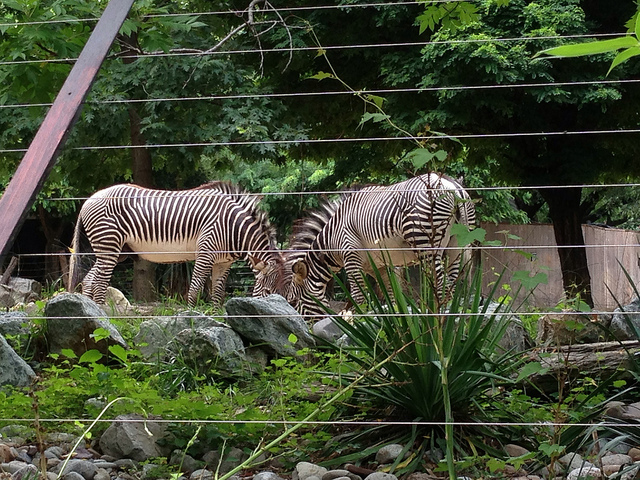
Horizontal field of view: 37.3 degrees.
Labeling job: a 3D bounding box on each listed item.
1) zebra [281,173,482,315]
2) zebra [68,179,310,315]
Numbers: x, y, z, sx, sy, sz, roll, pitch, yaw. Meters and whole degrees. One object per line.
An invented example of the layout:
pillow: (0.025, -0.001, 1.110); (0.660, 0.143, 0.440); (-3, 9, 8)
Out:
zebra: (0.491, 0.167, 9.533); (2.243, 1.319, 0.714); (-11, -14, 38)
zebra: (-1.447, 0.120, 10.545); (2.677, 1.599, 0.674); (7, 10, 6)
